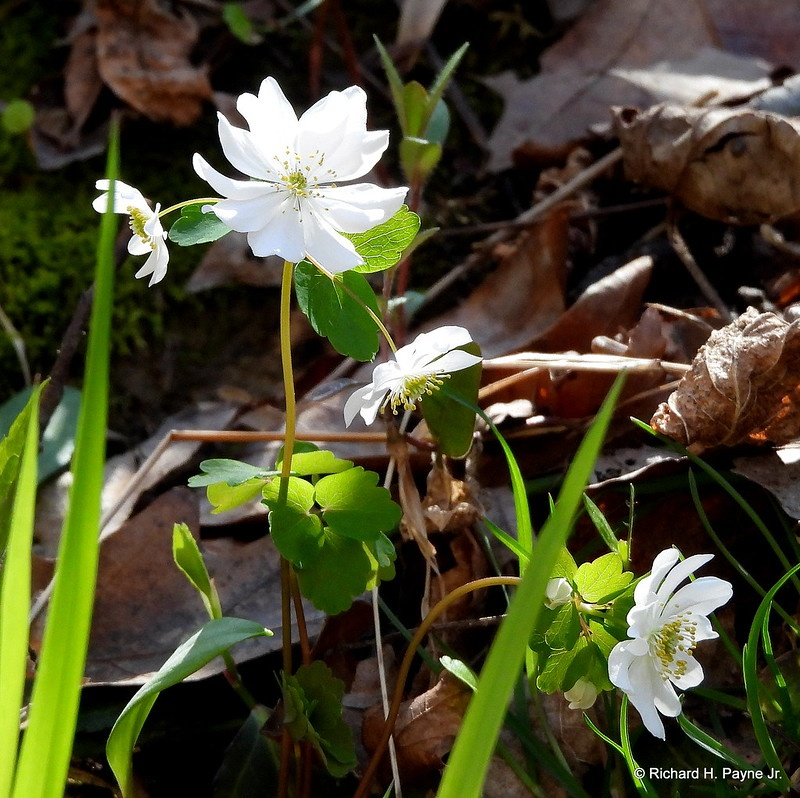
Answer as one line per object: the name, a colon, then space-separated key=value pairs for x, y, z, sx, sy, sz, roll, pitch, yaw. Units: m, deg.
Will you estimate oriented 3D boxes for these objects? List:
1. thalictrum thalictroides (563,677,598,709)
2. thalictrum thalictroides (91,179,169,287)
thalictrum thalictroides: x=0.262 y=0.412 z=1.354 sx=0.043 sy=0.048 sz=0.017 roll=15 pitch=-4 yaw=9
thalictrum thalictroides: x=-0.367 y=-0.244 z=1.370 sx=0.066 sy=0.147 sz=0.100 roll=-23 pitch=29 yaw=-9
